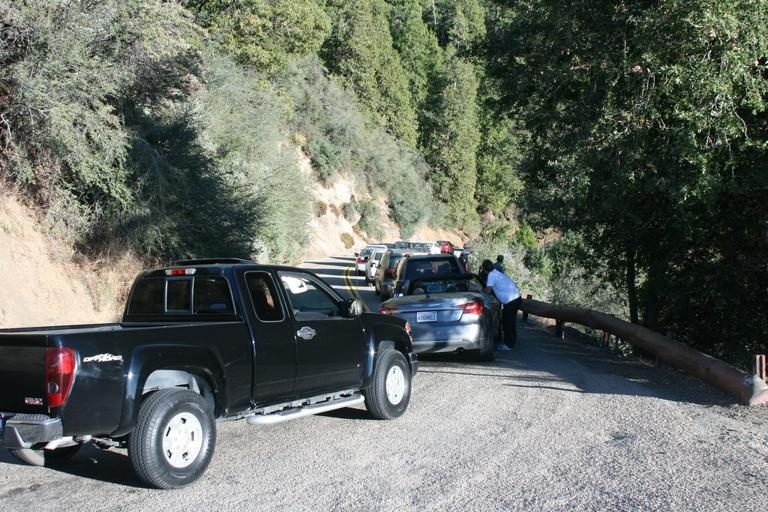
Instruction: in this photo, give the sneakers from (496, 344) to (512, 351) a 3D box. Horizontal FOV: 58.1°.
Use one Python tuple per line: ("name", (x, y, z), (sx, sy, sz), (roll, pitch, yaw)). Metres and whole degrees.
("sneakers", (3.053, 2.340, 17.562), (0.398, 0.185, 0.141), (-8, -7, 28))
